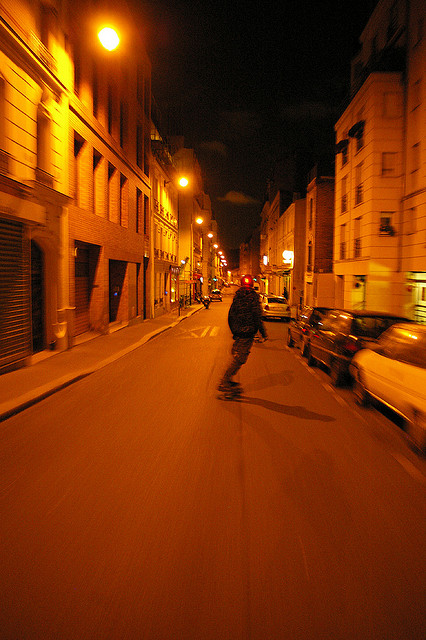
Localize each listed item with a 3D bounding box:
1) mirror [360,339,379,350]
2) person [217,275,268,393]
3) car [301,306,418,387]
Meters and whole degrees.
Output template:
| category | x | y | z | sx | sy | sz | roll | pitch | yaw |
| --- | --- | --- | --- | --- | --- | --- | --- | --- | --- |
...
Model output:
| category | x | y | z | sx | sy | sz | roll | pitch | yaw |
| --- | --- | --- | --- | --- | --- | --- | --- | --- | --- |
| mirror | 2.697 | 0.355 | 7.376 | 0.211 | 0.111 | 0.277 | 14 | 8 | -23 |
| person | 0.548 | 0.201 | 7.615 | 0.777 | 2.023 | 2.391 | 0 | 2 | 7 |
| car | 2.653 | 0.275 | 9.279 | 1.069 | 1.509 | 3.250 | 0 | 11 | -4 |
